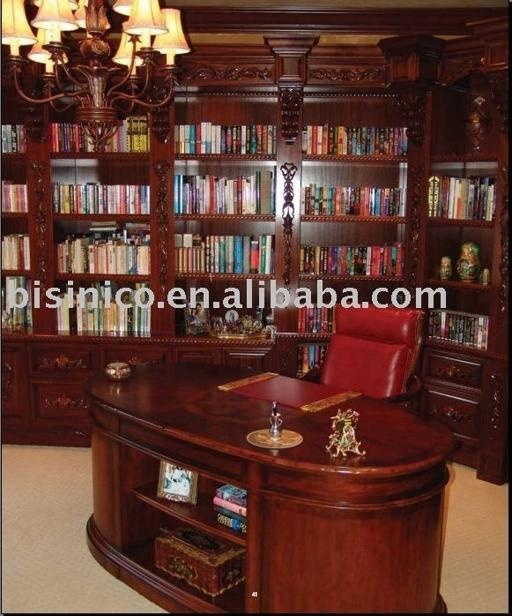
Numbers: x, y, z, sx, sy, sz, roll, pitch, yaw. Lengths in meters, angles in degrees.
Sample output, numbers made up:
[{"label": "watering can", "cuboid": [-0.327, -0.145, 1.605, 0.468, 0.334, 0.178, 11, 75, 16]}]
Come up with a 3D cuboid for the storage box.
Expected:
[{"label": "storage box", "cuboid": [-0.233, 1.022, 2.168, 0.219, 0.088, 0.219, 10, 8, 25]}]

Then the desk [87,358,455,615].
[{"label": "desk", "cuboid": [-0.016, 0.811, 2.180, 1.443, 0.827, 0.646, 7, 9, 43]}]

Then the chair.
[{"label": "chair", "cuboid": [0.723, 0.282, 3.291, 0.521, 0.658, 0.610, 8, 1, 38]}]
